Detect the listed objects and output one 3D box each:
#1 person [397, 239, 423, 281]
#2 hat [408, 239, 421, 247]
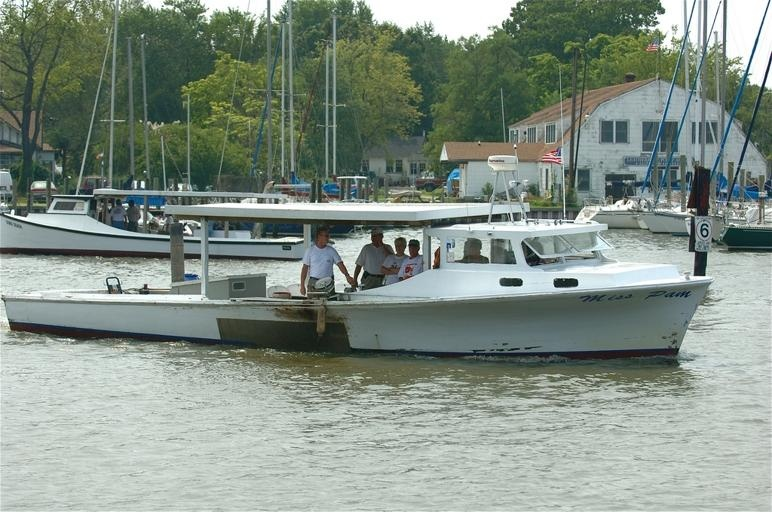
[{"bbox_3d":[0.967,0.156,52.945,0.889,1.474,0.523,1,1,-2],"label":"person"},{"bbox_3d":[1.104,-0.433,52.955,0.428,0.294,0.301,1,1,-14],"label":"hat"}]
